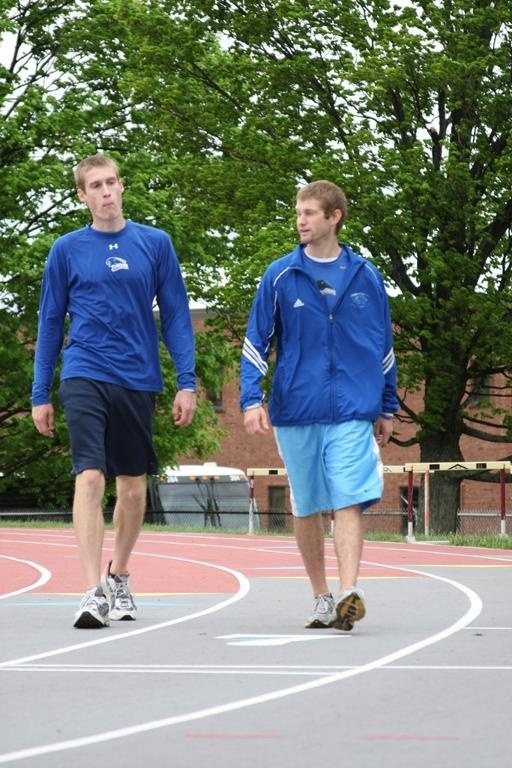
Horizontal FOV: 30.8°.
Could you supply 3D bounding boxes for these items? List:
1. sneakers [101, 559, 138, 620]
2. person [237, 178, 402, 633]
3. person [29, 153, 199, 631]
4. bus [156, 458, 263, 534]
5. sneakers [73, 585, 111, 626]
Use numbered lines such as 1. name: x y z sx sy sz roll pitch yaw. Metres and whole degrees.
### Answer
1. sneakers: -0.692 1.041 4.640 0.120 0.123 0.312 3 24 -27
2. person: 0.385 0.055 4.475 0.654 2.114 0.784 0 5 44
3. person: -0.704 0.005 4.630 0.842 2.308 0.587 -7 5 -42
4. bus: -1.698 3.643 29.773 3.371 1.649 1.886 -3 -4 42
5. sneakers: -0.742 1.015 4.201 0.160 0.184 0.173 -4 3 -16
